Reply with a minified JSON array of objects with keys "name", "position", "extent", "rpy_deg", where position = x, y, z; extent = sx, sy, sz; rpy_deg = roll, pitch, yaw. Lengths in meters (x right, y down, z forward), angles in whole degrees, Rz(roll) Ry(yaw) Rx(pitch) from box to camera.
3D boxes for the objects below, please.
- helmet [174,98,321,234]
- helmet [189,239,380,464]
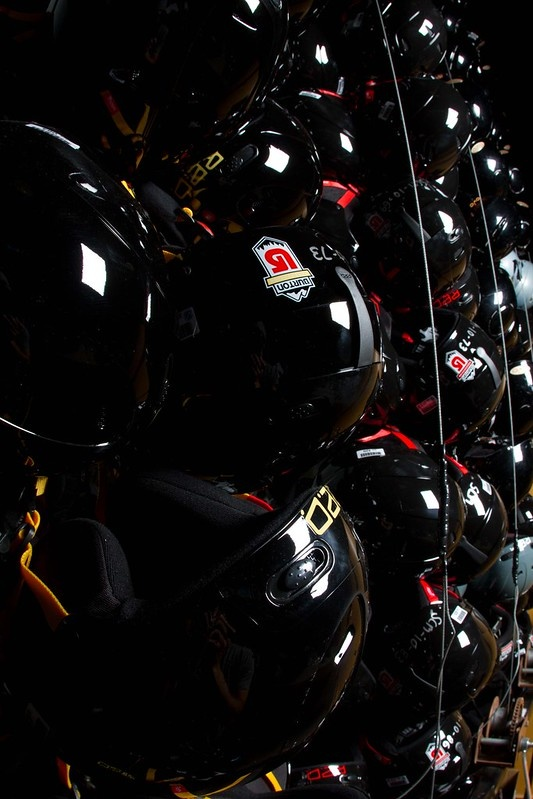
[{"name":"helmet","position":[-0.012,-0.267,0.684],"extent":[0.129,0.155,0.181],"rpy_deg":[30,20,5]},{"name":"helmet","position":[0.022,-0.061,0.601],"extent":[0.179,0.161,0.208],"rpy_deg":[123,-51,-83]}]
